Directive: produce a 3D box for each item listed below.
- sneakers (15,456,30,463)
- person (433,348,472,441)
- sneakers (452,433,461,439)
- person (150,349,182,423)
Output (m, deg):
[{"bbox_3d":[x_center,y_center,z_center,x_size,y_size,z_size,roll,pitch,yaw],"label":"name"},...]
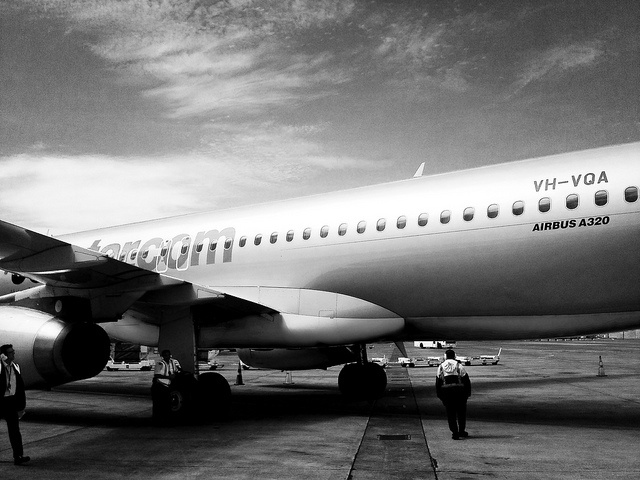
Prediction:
[{"bbox_3d":[-5.112,3.764,11.103,0.300,0.109,0.099,-1,-7,-13],"label":"sneakers"},{"bbox_3d":[2.635,3.034,12.894,0.633,1.719,0.655,-2,-7,8],"label":"person"},{"bbox_3d":[2.655,3.811,12.636,0.177,0.119,0.112,1,-7,-17],"label":"sneakers"},{"bbox_3d":[-3.395,3.217,14.287,0.620,1.590,0.565,1,-8,-14],"label":"person"}]
